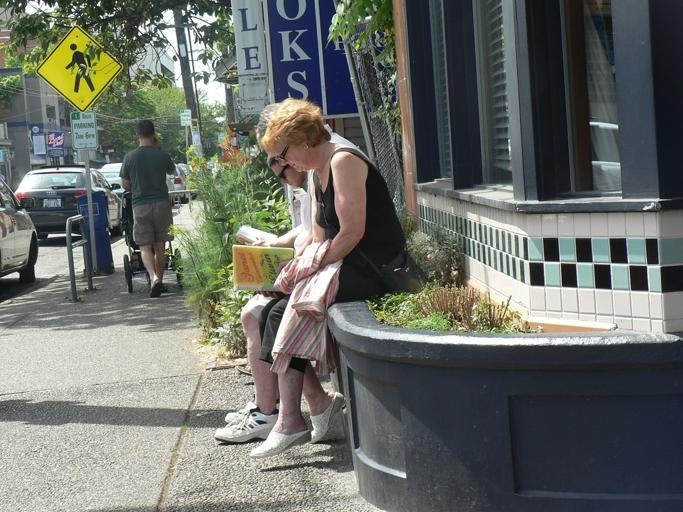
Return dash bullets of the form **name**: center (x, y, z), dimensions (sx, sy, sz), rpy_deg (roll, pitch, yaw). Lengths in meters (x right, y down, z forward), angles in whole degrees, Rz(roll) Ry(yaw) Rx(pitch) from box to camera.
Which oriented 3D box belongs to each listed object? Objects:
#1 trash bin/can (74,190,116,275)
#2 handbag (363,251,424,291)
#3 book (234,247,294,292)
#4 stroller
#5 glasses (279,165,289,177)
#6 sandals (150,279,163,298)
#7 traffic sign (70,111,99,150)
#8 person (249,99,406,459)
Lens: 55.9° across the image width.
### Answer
- **trash bin/can**: center (-4.259, -0.395, 11.132), dimensions (0.488, 1.487, 0.962), rpy_deg (-4, 6, -20)
- **handbag**: center (0.281, 0.092, 3.750), dimensions (0.125, 0.176, 0.099), rpy_deg (-40, 6, -24)
- **book**: center (-0.512, 0.041, 4.040), dimensions (0.371, 0.300, 0.339), rpy_deg (-5, 6, -37)
- **stroller**: center (-2.980, -0.174, 10.215), dimensions (0.952, 1.880, 0.946), rpy_deg (1, 8, -25)
- **glasses**: center (-0.371, -0.545, 4.100), dimensions (0.017, 0.063, 0.057), rpy_deg (9, -5, -25)
- **sandals**: center (-2.647, 0.469, 9.188), dimensions (0.119, 0.282, 0.113), rpy_deg (10, 8, -26)
- **traffic sign**: center (-4.331, -2.111, 10.810), dimensions (0.389, 0.674, 0.569), rpy_deg (-5, 6, -23)
- **person**: center (-0.092, 0.133, 3.735), dimensions (0.914, 2.116, 0.531), rpy_deg (-2, 6, 6)
